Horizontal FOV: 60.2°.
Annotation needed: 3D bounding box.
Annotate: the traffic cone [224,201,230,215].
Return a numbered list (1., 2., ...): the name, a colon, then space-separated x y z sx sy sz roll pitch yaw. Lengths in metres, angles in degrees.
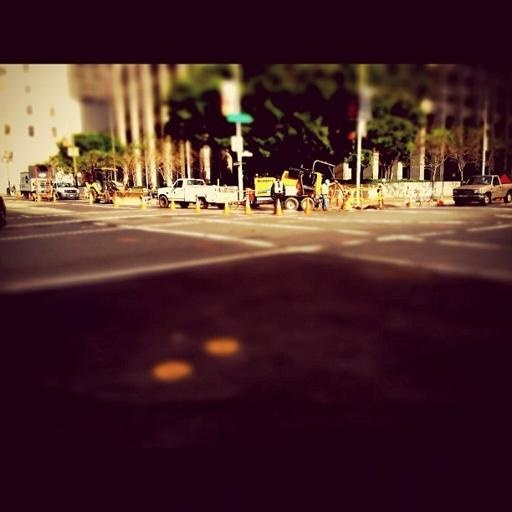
1. traffic cone: -1.463 -2.416 22.559 0.285 0.643 0.808 0 2 -3

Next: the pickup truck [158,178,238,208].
1. pickup truck: -3.796 -3.945 28.264 4.238 1.838 2.574 7 11 27

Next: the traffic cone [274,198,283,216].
1. traffic cone: 1.082 -2.291 21.242 0.366 0.849 1.220 0 2 1

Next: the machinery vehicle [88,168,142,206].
1. machinery vehicle: -12.621 -6.020 38.285 3.211 3.787 9.021 -1 2 -27

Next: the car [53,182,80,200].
1. car: -18.426 -6.249 42.926 2.136 1.709 1.296 -1 1 -29

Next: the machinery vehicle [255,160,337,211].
1. machinery vehicle: 2.317 -3.931 24.881 5.129 3.239 2.488 -3 10 -9

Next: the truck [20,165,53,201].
1. truck: -21.639 -7.364 44.346 2.850 3.615 5.386 -2 2 -31
